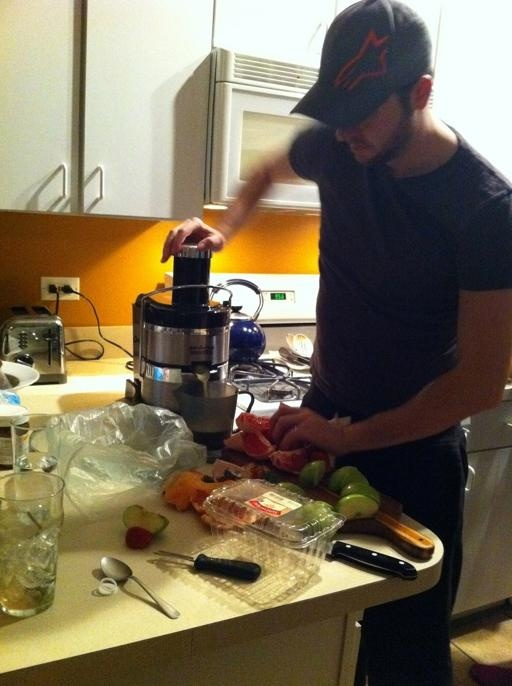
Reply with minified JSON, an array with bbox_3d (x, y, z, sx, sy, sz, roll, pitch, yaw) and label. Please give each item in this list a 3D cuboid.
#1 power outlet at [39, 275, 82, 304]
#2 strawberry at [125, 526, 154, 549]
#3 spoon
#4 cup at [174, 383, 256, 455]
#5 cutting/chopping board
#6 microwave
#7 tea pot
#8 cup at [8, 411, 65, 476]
[{"bbox_3d":[-0.688,-0.187,2.007,0.109,0.070,0.017,-2,10,-24],"label":"power outlet"},{"bbox_3d":[-0.149,0.266,0.787,0.031,0.027,0.009,-8,-22,-17],"label":"strawberry"},{"bbox_3d":[-0.135,0.284,0.671,0.122,0.016,0.028,25,30,28],"label":"spoon"},{"bbox_3d":[-0.086,0.138,1.199,0.168,0.115,0.171,4,15,-1],"label":"cup"},{"bbox_3d":[0.157,0.174,0.961,0.401,0.146,0.293,-3,13,-27],"label":"cutting/chopping board"},{"bbox_3d":[-0.005,-0.692,1.965,0.402,0.491,0.371,-7,22,-22],"label":"microwave"},{"bbox_3d":[-0.054,-0.055,1.939,0.169,0.302,0.159,5,19,-2],"label":"tea pot"},{"bbox_3d":[-0.302,0.137,0.787,0.068,0.095,0.100,1,2,-5],"label":"cup"}]
